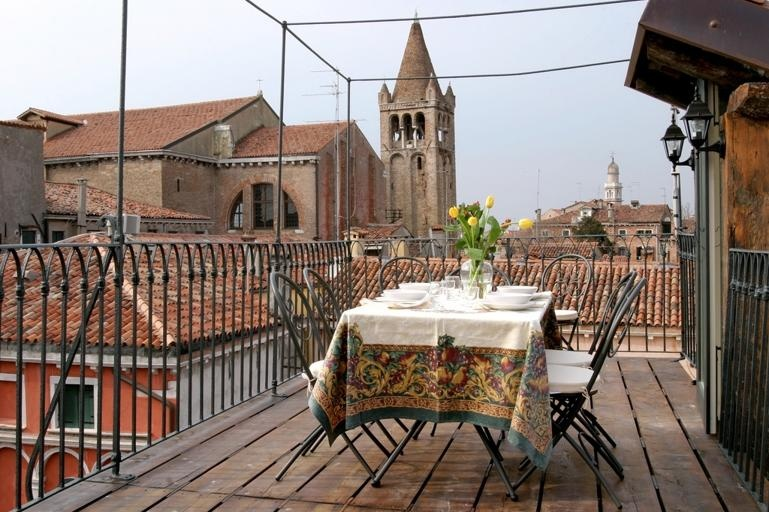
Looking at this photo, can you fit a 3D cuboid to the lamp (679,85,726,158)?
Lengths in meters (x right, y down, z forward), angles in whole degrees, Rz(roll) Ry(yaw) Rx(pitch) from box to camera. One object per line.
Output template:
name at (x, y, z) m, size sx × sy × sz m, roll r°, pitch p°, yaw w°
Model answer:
lamp at (3.393, -1.398, 9.022) m, size 0.385 × 0.767 × 0.282 m, roll 1°, pitch -4°, yaw 15°

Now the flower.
flower at (0.972, -0.131, 8.254) m, size 0.575 × 0.779 × 0.535 m, roll -7°, pitch 9°, yaw -28°

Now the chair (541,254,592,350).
chair at (2.076, 0.631, 10.068) m, size 0.619 × 1.200 × 0.761 m, roll 3°, pitch 9°, yaw 42°

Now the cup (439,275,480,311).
cup at (0.716, 0.356, 8.216) m, size 0.328 × 0.319 × 0.329 m, roll -1°, pitch -2°, yaw 0°

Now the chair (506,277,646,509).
chair at (2.192, 1.136, 9.194) m, size 1.848 × 2.851 × 1.663 m, roll 1°, pitch 2°, yaw 14°

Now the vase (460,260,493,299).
vase at (0.906, 0.239, 8.304) m, size 0.325 × 0.395 × 0.347 m, roll 0°, pitch -1°, yaw -9°
